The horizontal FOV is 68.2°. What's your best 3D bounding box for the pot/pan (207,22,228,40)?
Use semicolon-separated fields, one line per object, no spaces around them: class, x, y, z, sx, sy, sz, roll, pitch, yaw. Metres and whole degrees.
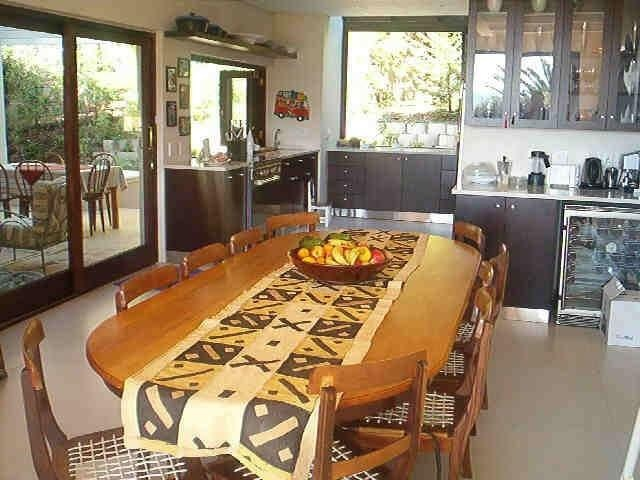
pot/pan;-1.254;-2.524;5.716;0.191;0.116;0.339;2;15;5

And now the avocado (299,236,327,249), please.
avocado;-0.056;0.005;2.510;0.098;0.072;0.079;7;7;0

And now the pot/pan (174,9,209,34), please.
pot/pan;-1.463;-2.414;5.370;0.351;0.228;0.351;0;9;-1

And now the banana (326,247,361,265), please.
banana;0.121;0.079;2.320;0.087;0.039;0.114;2;25;17

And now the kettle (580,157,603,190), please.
kettle;2.678;-0.662;4.659;0.202;0.296;0.239;5;12;28

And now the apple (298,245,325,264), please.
apple;-0.043;0.067;2.386;0.096;0.049;0.098;3;3;43

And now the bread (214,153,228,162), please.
bread;-1.227;-1.016;5.776;0.140;0.051;0.142;7;17;23
